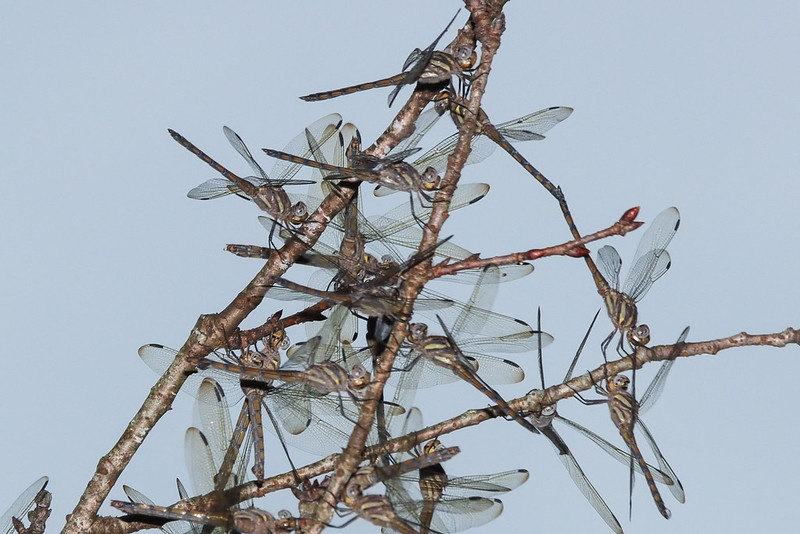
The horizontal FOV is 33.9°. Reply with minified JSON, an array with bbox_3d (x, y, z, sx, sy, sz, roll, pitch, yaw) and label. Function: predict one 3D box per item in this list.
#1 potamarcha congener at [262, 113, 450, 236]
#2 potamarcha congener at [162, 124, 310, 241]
[{"bbox_3d":[-0.183,-0.514,7.517,0.803,0.315,0.839,17,-3,11],"label":"potamarcha congener"},{"bbox_3d":[-0.731,-0.397,6.924,0.639,0.545,0.239,39,-45,16],"label":"potamarcha congener"}]
